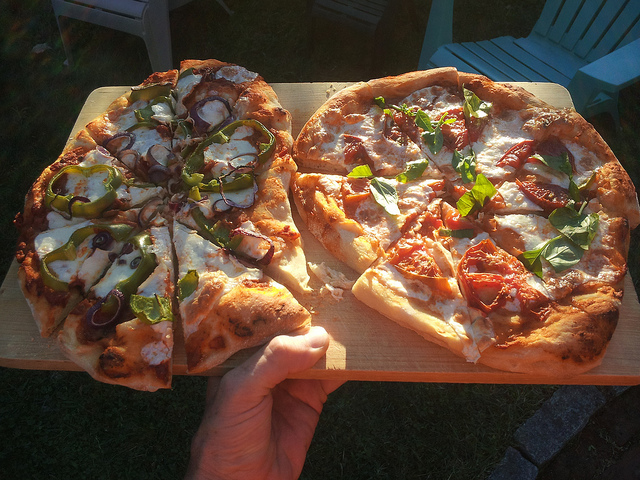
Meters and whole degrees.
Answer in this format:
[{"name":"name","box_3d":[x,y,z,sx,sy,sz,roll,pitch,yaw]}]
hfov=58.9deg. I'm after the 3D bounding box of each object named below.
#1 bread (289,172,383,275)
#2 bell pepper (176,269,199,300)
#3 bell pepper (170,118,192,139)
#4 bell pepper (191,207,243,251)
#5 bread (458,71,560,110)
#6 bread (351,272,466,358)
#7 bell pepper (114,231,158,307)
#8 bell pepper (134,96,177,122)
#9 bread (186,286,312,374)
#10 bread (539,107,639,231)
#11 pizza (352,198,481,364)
[{"name":"bread","box_3d":[0.087,-0.163,4.791,0.641,0.218,0.855,-35,84,-29]},{"name":"bell pepper","box_3d":[-1.017,0.334,4.364,0.175,0.085,0.358,5,24,-9]},{"name":"bell pepper","box_3d":[-1.224,-1.015,5.123,0.205,0.153,0.069,45,21,7]},{"name":"bell pepper","box_3d":[-0.842,-0.074,4.679,0.529,0.158,0.209,34,53,12]},{"name":"bread","box_3d":[1.805,-1.440,5.501,0.750,0.200,0.701,20,39,25]},{"name":"bread","box_3d":[0.708,0.547,4.409,0.956,0.134,0.225,30,69,9]},{"name":"bell pepper","box_3d":[-1.421,0.247,4.404,0.417,0.293,0.499,9,37,3]},{"name":"bell pepper","box_3d":[-1.513,-1.190,5.212,0.232,0.117,0.329,41,74,11]},{"name":"bread","box_3d":[-0.580,0.605,4.367,1.022,0.214,0.470,-20,70,-11]},{"name":"bread","box_3d":[2.440,-0.668,4.940,0.705,0.225,1.188,-26,80,-27]},{"name":"pizza","box_3d":[0.732,0.336,4.804,1.353,0.849,1.456,0,38,-3]}]
